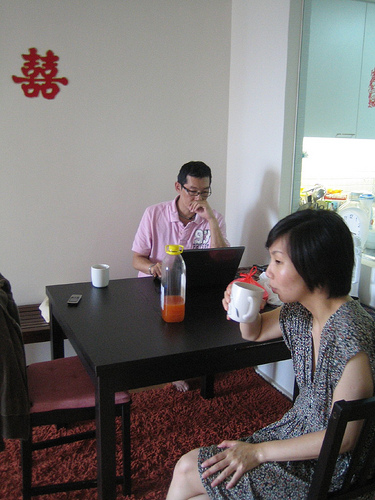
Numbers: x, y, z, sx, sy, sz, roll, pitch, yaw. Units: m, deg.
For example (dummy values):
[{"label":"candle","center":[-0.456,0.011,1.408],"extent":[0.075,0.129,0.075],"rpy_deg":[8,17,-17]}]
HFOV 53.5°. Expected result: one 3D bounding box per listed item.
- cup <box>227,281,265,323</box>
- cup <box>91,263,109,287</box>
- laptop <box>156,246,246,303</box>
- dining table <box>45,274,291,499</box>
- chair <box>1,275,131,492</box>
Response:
[{"label":"cup","center":[0.147,0.140,0.953],"extent":[0.080,0.097,0.116],"rpy_deg":[14,10,2]},{"label":"cup","center":[-0.393,0.122,1.690],"extent":[0.079,0.101,0.086],"rpy_deg":[4,11,-1]},{"label":"laptop","center":[0.090,0.077,1.630],"extent":[0.247,0.264,0.210],"rpy_deg":[-1,42,-14]},{"label":"dining table","center":[-0.165,0.302,1.410],"extent":[0.748,0.677,0.817],"rpy_deg":[-8,19,-24]},{"label":"chair","center":[-0.418,0.500,1.313],"extent":[0.390,0.794,0.401],"rpy_deg":[-6,33,-23]}]
